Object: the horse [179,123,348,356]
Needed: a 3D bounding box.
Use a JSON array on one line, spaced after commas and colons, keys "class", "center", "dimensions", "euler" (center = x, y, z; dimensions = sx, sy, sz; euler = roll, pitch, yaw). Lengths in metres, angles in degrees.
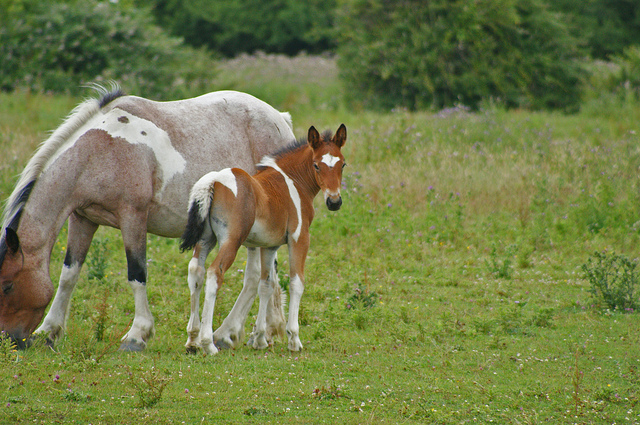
[{"class": "horse", "center": [-1.191, 0.508, 24.149], "dimensions": [3.040, 4.480, 1.228], "euler": [2, 8, -12]}]
